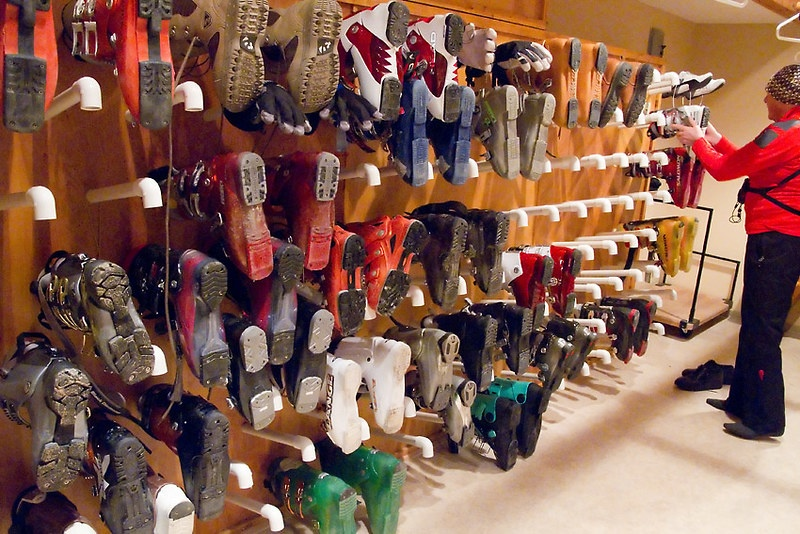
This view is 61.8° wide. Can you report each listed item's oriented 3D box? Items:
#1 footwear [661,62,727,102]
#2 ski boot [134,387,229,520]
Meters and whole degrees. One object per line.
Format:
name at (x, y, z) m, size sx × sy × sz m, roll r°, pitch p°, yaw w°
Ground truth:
footwear at (1.737, -1.062, 3.923) m, size 0.312 × 0.125 × 0.254 m, roll -12°, pitch 5°, yaw 25°
ski boot at (-0.794, 0.661, 2.489) m, size 0.264 × 0.698 × 0.220 m, roll -10°, pitch -4°, yaw 32°
